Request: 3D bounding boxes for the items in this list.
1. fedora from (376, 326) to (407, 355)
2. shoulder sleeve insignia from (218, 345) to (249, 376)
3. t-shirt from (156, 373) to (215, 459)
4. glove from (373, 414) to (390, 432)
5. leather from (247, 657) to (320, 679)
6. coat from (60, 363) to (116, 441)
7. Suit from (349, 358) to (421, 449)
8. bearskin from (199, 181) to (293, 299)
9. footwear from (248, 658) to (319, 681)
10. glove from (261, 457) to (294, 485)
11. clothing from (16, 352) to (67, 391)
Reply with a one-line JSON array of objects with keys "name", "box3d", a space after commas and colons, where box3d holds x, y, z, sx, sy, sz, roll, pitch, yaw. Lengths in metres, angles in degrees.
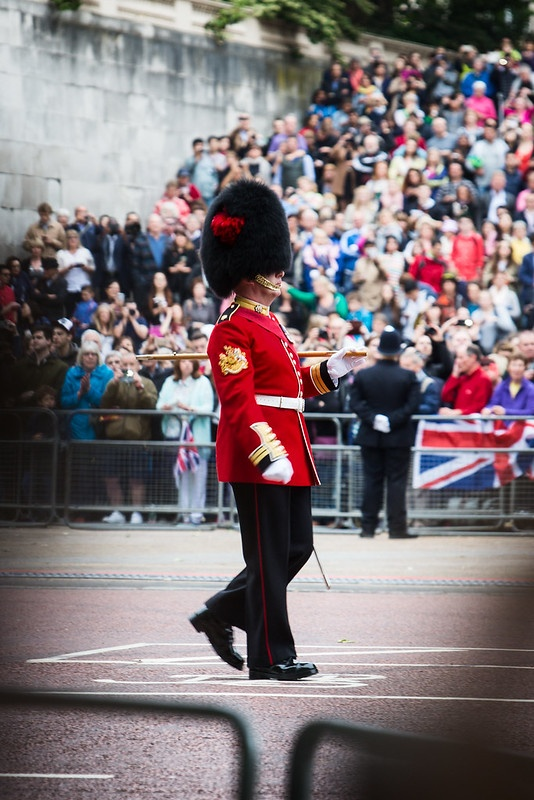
[{"name": "fedora", "box3d": [0.758, -0.347, 8.510, 0.165, 0.146, 0.168, 2, 21, 6]}, {"name": "shoulder sleeve insignia", "box3d": [-0.095, -0.110, 4.182, 0.077, 0.086, 0.040, -6, -10, -4]}, {"name": "t-shirt", "box3d": [-0.540, 0.126, 9.085, 0.369, 0.565, 0.290, 1, 2, 10]}, {"name": "glove", "box3d": [0.683, 0.160, 8.409, 0.104, 0.092, 0.025, 2, 1, 34]}, {"name": "leather", "box3d": [0.053, 0.808, 4.207, 0.202, 0.080, 0.073, -6, -1, 8]}, {"name": "coat", "box3d": [-1.129, 0.092, 8.850, 0.342, 0.770, 0.227, -1, -12, -1]}, {"name": "Suit", "box3d": [0.732, 0.039, 8.556, 0.436, 0.544, 0.236, 2, -4, 17]}, {"name": "bearskin", "box3d": [-0.069, -0.539, 4.519, 0.267, 0.343, 0.361, 4, 4, 17]}, {"name": "footwear", "box3d": [0.060, 0.811, 4.197, 0.208, 0.080, 0.074, -5, -1, 8]}, {"name": "glove", "box3d": [0.042, 0.213, 4.094, 0.070, 0.081, 0.110, 0, 0, 28]}, {"name": "clothing", "box3d": [-1.306, -0.153, 8.090, 0.314, 0.277, 0.180, 0, -1, -43]}]
